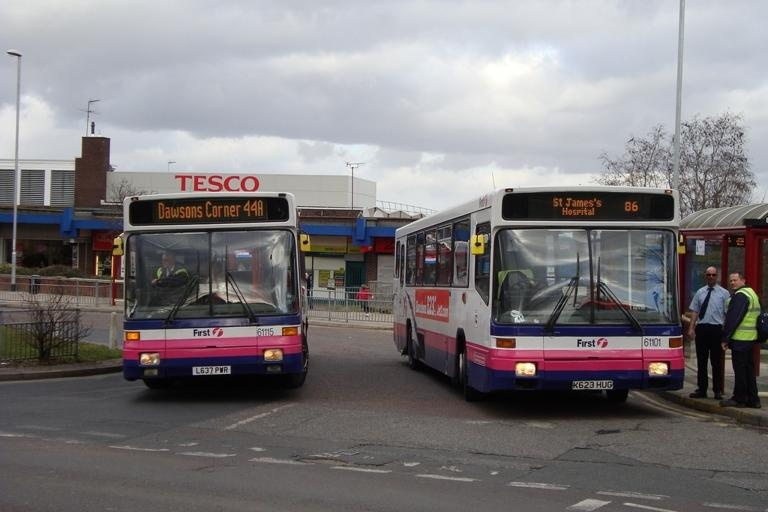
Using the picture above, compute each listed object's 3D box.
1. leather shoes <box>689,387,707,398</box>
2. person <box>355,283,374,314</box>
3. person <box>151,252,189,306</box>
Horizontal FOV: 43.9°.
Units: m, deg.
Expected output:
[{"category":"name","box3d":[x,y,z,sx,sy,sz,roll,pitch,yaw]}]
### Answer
[{"category":"leather shoes","box3d":[6.255,2.724,18.871,0.410,0.187,0.154,2,3,19]},{"category":"person","box3d":[-0.899,1.924,41.835,0.906,0.668,2.046,-2,44,-1]},{"category":"person","box3d":[-4.191,0.495,18.538,0.641,1.006,0.595,-14,-28,26]}]
